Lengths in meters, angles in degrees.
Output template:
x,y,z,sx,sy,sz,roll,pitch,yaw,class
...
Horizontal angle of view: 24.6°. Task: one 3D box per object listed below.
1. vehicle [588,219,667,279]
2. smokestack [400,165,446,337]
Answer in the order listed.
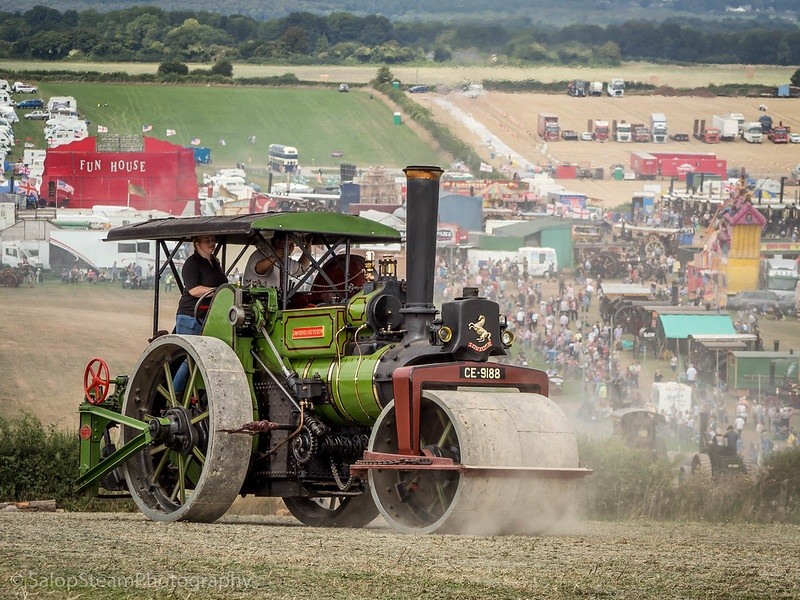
x,y,z,sx,sy,sz,roll,pitch,yaw,class
15.213,-3.381,122.727,3.597,2.778,5.390,2,0,28,vehicle
0.843,-2.036,74.560,1.972,6.777,0.999,10,8,5,smokestack
